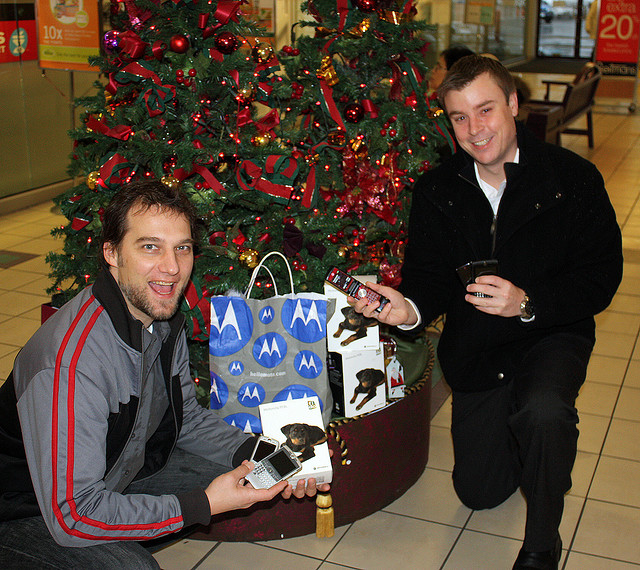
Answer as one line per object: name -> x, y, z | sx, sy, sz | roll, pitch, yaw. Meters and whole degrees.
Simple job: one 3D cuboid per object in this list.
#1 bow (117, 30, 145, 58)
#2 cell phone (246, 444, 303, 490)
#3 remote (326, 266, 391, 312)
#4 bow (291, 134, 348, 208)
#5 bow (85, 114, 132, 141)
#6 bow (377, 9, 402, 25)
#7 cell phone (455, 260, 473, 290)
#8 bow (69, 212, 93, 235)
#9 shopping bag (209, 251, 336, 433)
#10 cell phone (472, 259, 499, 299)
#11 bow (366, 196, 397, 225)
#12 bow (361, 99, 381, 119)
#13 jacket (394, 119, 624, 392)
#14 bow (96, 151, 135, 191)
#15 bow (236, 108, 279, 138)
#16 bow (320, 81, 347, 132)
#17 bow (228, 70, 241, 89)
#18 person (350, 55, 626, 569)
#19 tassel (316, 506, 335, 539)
bow -> -0.771, -0.993, 2.274 | 0.038, 0.088, 0.115 | -23, 60, 3
cell phone -> -0.136, 0.546, 1.651 | 0.168, 0.022, 0.091 | -33, 59, -32
remote -> 0.124, 0.006, 2.081 | 0.296, 0.095, 0.045 | 34, -4, -7
bow -> -0.053, -0.506, 2.402 | 0.207, 0.308, 0.243 | 22, 31, 29
bow -> -0.835, -0.670, 2.311 | 0.266, 0.095, 0.090 | 20, 28, 30
bow -> 0.288, -1.115, 2.299 | 0.073, 0.039, 0.060 | 20, 26, 23
cell phone -> 0.520, -0.036, 1.969 | 0.021, 0.078, 0.082 | -3, 2, -25
bow -> -1.042, -0.271, 2.443 | 0.084, 0.035, 0.089 | 10, 58, 19
shopping bag -> -0.181, 0.228, 2.048 | 0.631, 0.862, 0.295 | 0, 13, -4
cell phone -> 0.570, -0.023, 1.955 | 0.092, 0.157, 0.055 | -9, 20, -10
bow -> 0.266, -0.321, 2.371 | 0.081, 0.132, 0.035 | -39, -2, -8
bow -> 0.220, -0.760, 2.380 | 0.062, 0.063, 0.087 | 16, -16, 19
jacket -> 0.709, -0.069, 2.110 | 0.810, 1.070, 0.554 | 1, 16, 8
bow -> -0.838, -0.443, 2.326 | 0.132, 0.049, 0.128 | -32, 29, 35
bow -> -0.251, -0.659, 2.321 | 0.135, 0.137, 0.062 | 4, 10, 1
bow -> 0.060, -0.755, 2.335 | 0.055, 0.233, 0.035 | -20, 13, 7
bow -> -0.343, -0.823, 2.219 | 0.055, 0.072, 0.036 | 1, 16, 7
person -> 0.663, 0.076, 2.116 | 0.716, 1.821, 0.851 | -16, 22, -41
tassel -> 0.020, 0.904, 2.115 | 0.065, 0.139, 0.048 | -3, 16, -7
